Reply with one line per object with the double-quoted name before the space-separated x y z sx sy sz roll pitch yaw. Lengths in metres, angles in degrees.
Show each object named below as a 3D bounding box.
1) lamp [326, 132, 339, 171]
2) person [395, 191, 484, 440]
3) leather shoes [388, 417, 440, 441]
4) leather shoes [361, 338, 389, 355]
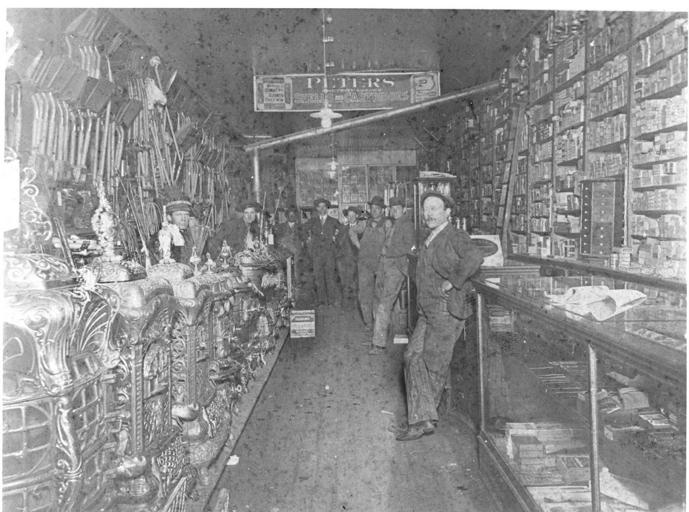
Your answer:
"lamp" -0.099 -0.882 4.732 0.055 0.327 0.216 -1 9 -16
"person" 0.538 0.340 3.416 0.473 1.443 0.435 0 9 -10
"leather shoes" 0.410 1.019 3.388 0.277 0.107 0.227 -1 10 -18
"leather shoes" 0.271 0.774 4.906 0.214 0.114 0.421 2 9 2
